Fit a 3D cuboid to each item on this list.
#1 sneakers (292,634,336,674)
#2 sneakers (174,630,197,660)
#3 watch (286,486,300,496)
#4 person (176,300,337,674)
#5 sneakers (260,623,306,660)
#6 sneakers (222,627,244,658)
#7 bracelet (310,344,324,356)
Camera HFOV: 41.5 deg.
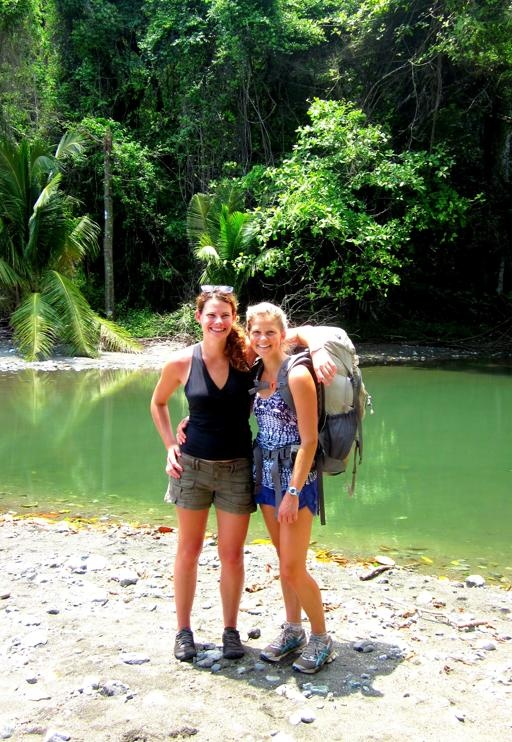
[{"bbox_3d":[0.237,1.111,2.677,0.077,0.098,0.217,1,2,27],"label":"sneakers"},{"bbox_3d":[-0.278,1.101,2.708,0.054,0.054,0.143,-2,2,-10],"label":"sneakers"},{"bbox_3d":[0.141,0.451,2.528,0.046,0.030,0.041,10,-8,10],"label":"watch"},{"bbox_3d":[0.126,0.450,2.707,0.285,1.442,0.411,-2,6,-38],"label":"person"},{"bbox_3d":[0.121,1.111,2.791,0.235,0.106,0.084,1,-3,-42],"label":"sneakers"},{"bbox_3d":[-0.088,1.111,2.746,0.055,0.055,0.143,-3,0,-7],"label":"sneakers"},{"bbox_3d":[0.236,-0.080,2.604,0.042,0.032,0.057,2,4,-3],"label":"bracelet"}]
